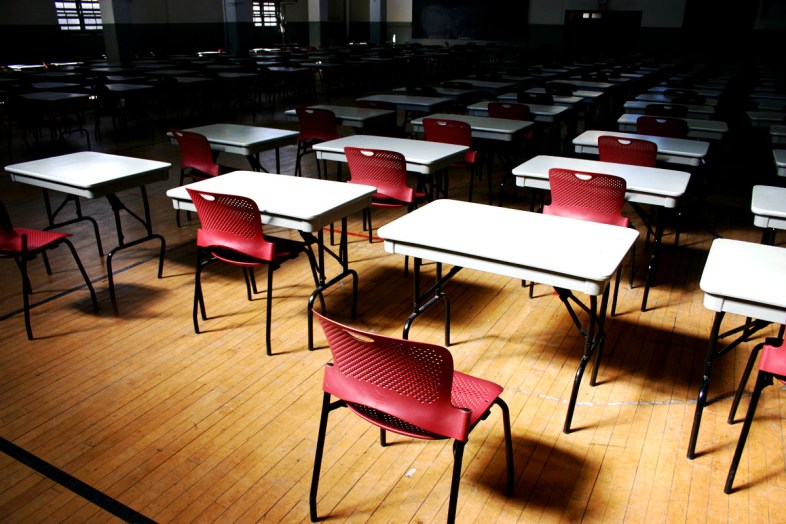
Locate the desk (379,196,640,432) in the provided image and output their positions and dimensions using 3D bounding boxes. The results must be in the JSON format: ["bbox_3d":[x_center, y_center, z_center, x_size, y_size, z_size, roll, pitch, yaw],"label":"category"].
[{"bbox_3d":[0.755,0.280,3.729,1.441,0.942,0.880,14,24,32],"label":"desk"}]

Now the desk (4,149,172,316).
[{"bbox_3d":[-2.822,-0.214,5.139,1.503,1.025,0.855,20,32,26],"label":"desk"}]

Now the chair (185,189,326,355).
[{"bbox_3d":[-1.060,0.111,4.282,0.799,1.245,0.908,12,30,19],"label":"chair"}]

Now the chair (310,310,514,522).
[{"bbox_3d":[0.101,0.928,3.128,0.788,1.045,0.825,12,32,26],"label":"chair"}]
